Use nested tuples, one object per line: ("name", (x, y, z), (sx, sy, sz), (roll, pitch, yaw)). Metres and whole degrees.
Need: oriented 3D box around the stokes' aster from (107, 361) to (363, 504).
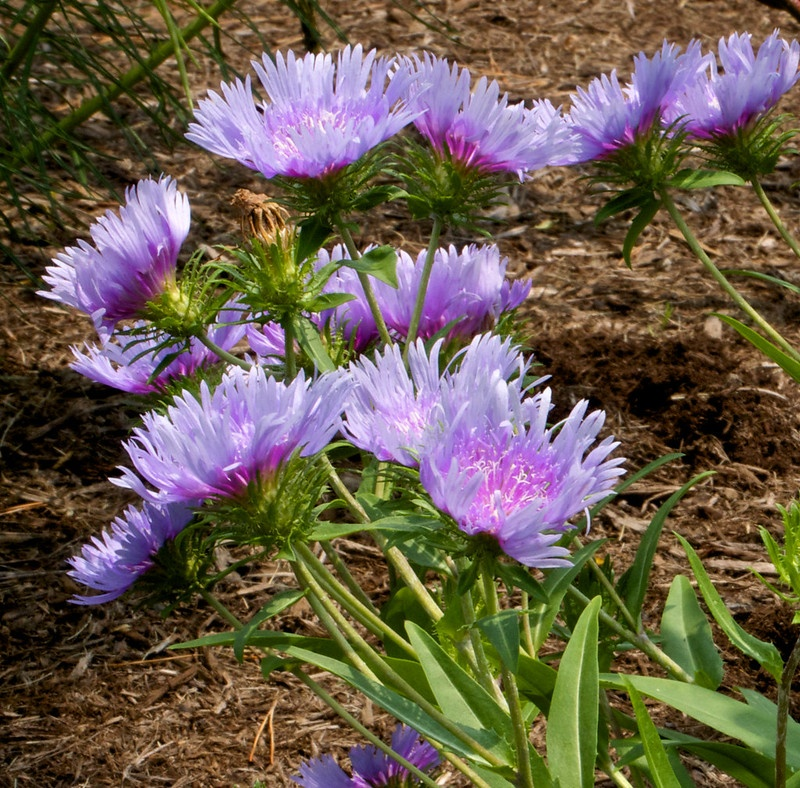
("stokes' aster", (-0.190, 0.039, 1.396), (0.244, 0.116, 0.245), (-21, 2, 27))
